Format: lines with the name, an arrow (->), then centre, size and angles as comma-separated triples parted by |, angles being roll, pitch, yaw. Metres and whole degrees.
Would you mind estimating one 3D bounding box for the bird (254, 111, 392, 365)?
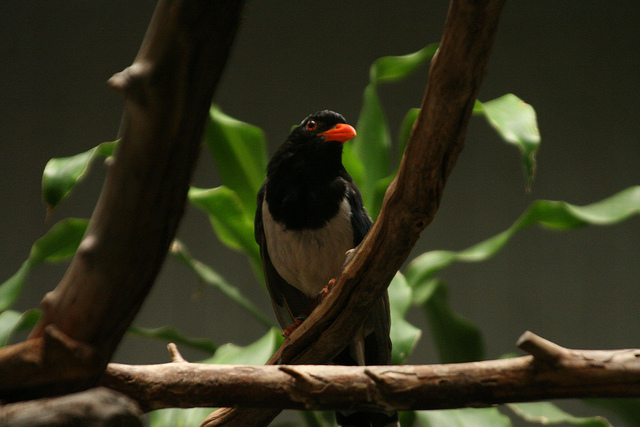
bird -> 0.039, 0.155, 4.126 | 0.565, 1.165, 1.131 | -3, -18, 16
